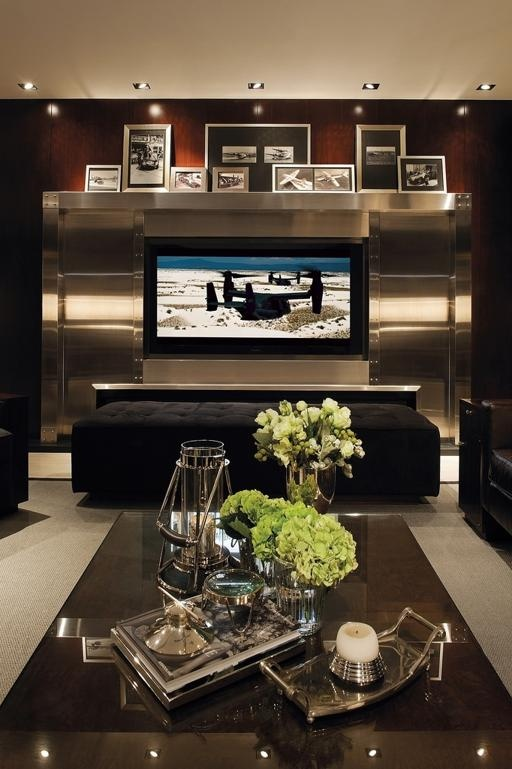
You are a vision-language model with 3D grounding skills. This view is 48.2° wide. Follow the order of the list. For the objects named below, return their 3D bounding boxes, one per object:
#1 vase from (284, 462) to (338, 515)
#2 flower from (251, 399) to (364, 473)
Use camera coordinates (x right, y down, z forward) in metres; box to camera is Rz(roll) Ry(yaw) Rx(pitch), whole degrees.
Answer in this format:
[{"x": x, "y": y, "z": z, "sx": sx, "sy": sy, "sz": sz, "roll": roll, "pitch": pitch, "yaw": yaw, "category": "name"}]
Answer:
[{"x": 0.143, "y": 0.252, "z": 1.535, "sx": 0.121, "sy": 0.163, "sz": 0.127, "roll": -2, "pitch": 3, "yaw": -17, "category": "vase"}, {"x": 0.141, "y": 0.088, "z": 1.520, "sx": 0.218, "sy": 0.211, "sz": 0.220, "roll": 2, "pitch": -3, "yaw": 42, "category": "flower"}]
